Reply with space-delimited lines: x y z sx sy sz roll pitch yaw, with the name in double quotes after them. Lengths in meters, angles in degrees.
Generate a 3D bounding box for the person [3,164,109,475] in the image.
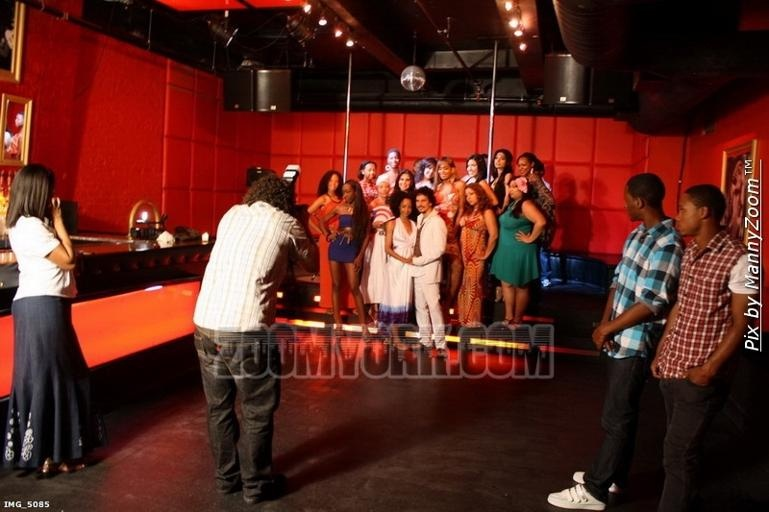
-2.239 0.435 3.434 0.556 2.023 0.451 -5 13 -29 "person"

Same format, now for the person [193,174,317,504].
-0.831 0.507 3.345 0.604 2.020 0.497 -9 15 -42 "person"
